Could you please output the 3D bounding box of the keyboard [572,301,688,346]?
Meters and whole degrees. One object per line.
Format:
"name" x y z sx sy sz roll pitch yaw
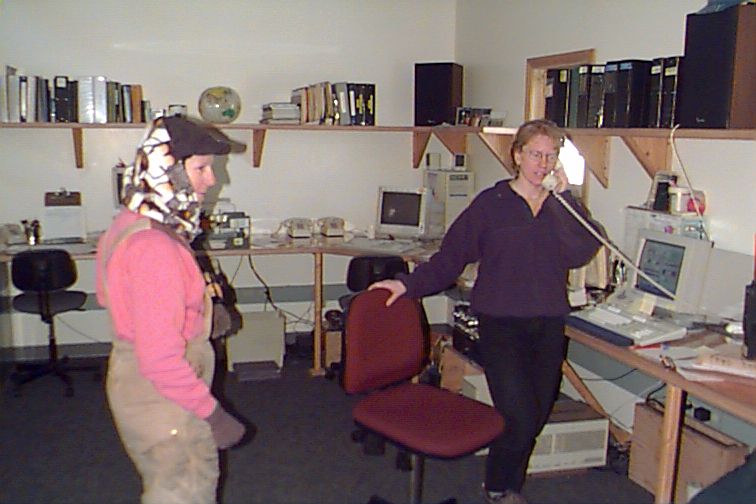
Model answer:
"keyboard" 1.349 0.402 3.381 0.236 0.073 0.327 -10 16 -30

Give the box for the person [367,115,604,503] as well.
"person" 0.696 0.325 3.440 0.864 2.061 0.629 5 15 28

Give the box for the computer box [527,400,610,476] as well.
"computer box" 1.079 1.183 4.050 0.720 0.309 0.521 4 5 -22

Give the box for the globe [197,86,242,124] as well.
"globe" -1.354 -1.261 5.318 0.374 0.341 0.198 3 -2 -30

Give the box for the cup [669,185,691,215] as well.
"cup" 1.756 -0.304 3.598 0.110 0.149 0.090 3 14 20

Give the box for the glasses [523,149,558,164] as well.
"glasses" 0.866 -0.510 3.317 0.193 0.097 0.058 1 13 12

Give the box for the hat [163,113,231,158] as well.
"hat" -0.752 -0.469 2.613 0.275 0.132 0.178 0 28 -31

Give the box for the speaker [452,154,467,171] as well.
"speaker" 0.730 -0.805 5.583 0.149 0.197 0.151 2 2 5

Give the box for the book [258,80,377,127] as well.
"book" -0.484 -1.253 5.239 0.935 0.361 0.179 -5 13 -14

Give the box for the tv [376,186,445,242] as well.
"tv" 0.322 -0.354 5.627 0.768 0.493 0.423 2 1 15

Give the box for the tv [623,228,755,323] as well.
"tv" 1.769 0.111 3.554 0.452 0.516 0.761 4 12 -23
